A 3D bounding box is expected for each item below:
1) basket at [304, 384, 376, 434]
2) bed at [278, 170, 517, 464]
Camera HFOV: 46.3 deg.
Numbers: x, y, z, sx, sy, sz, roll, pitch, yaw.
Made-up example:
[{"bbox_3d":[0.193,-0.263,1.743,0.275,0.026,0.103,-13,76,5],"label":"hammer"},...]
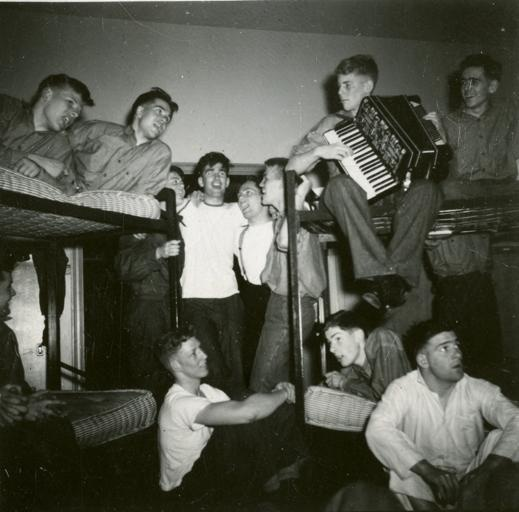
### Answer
[{"bbox_3d":[0.417,0.824,3.249,0.303,0.151,0.234,13,-15,-3],"label":"basket"},{"bbox_3d":[0.617,0.135,3.455,0.997,1.322,0.688,-2,-2,-22],"label":"bed"}]
